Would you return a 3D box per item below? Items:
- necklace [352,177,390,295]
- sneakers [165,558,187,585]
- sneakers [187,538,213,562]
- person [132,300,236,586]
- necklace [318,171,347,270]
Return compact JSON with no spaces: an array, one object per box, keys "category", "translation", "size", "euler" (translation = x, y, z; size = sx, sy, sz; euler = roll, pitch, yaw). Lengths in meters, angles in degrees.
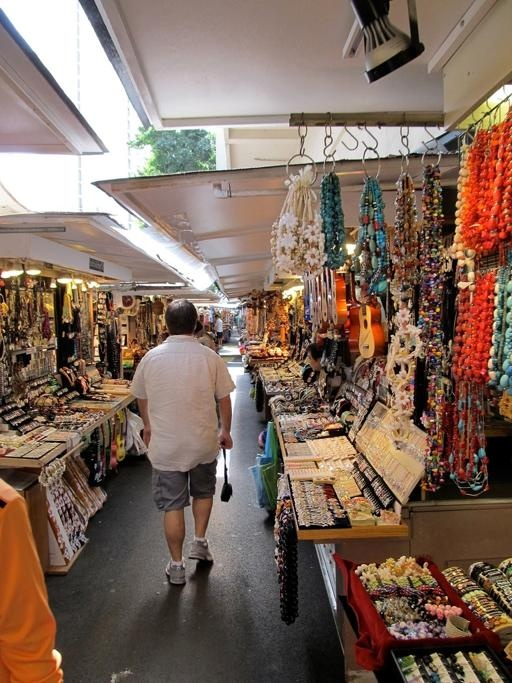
[{"category":"necklace","translation":[0.432,-0.387,1.738],"size":[0.109,0.399,0.163],"euler":[0,3,12]},{"category":"sneakers","translation":[-0.535,1.514,3.060],"size":[0.086,0.095,0.217],"euler":[2,1,-5]},{"category":"sneakers","translation":[-0.390,1.481,3.255],"size":[0.103,0.124,0.266],"euler":[2,-6,3]},{"category":"person","translation":[-0.479,0.659,3.132],"size":[0.676,1.867,0.418],"euler":[-2,3,-20]},{"category":"necklace","translation":[0.281,-0.437,1.680],"size":[0.069,0.348,0.167],"euler":[2,4,43]}]
